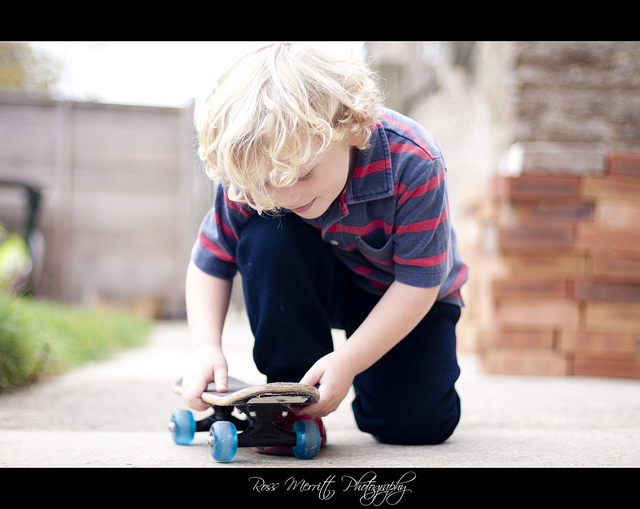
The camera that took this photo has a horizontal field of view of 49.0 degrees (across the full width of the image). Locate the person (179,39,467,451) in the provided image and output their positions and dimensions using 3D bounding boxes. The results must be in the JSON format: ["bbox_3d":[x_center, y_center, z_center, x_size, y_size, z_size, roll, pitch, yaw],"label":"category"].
[{"bbox_3d":[0.052,0.002,1.625,0.727,0.950,0.474,-1,5,-35],"label":"person"}]
